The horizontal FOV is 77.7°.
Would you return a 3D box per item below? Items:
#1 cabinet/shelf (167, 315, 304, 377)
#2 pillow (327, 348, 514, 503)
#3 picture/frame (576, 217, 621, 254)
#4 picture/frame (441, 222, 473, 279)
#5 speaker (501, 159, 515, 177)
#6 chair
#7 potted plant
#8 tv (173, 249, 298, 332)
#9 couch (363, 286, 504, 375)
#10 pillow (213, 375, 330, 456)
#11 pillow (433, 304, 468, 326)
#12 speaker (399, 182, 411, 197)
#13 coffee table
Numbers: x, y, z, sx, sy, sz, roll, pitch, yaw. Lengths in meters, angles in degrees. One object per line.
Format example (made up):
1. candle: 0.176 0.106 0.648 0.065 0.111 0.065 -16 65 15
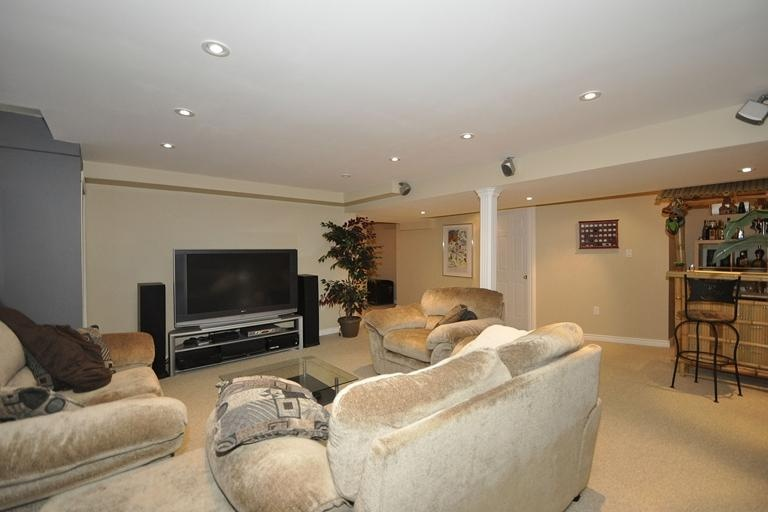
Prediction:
1. cabinet/shelf: -1.957 1.124 6.442 1.644 0.549 0.446 -6 8 -25
2. pillow: 0.254 1.078 2.956 0.989 0.488 0.305 -9 6 -19
3. picture/frame: 3.189 -0.323 7.063 0.582 0.518 0.064 0 -2 42
4. picture/frame: 1.334 -0.104 8.689 0.103 0.879 0.700 -2 -1 -34
5. speaker: 1.422 -1.036 5.486 0.143 0.189 0.201 4 3 -35
6. chair: 3.546 0.839 5.299 0.686 1.574 0.940 -3 -1 36
7. potted plant: -0.520 0.326 7.878 1.159 1.963 0.925 2 5 -33
8. tv: -2.057 0.451 6.420 1.237 0.795 0.122 0 -2 -39
9. couch: 0.580 0.900 5.534 1.061 0.948 1.393 -6 6 -34
10. pillow: -0.802 1.008 3.209 0.538 0.158 0.516 -1 13 -26
11. pillow: 0.749 0.636 5.269 0.278 0.214 0.470 -3 -2 35
12. speaker: 0.273 -0.952 6.679 0.136 0.157 0.227 -2 -2 -29
13. coffee table: -0.790 1.201 4.832 0.772 0.181 0.787 -1 4 -42
